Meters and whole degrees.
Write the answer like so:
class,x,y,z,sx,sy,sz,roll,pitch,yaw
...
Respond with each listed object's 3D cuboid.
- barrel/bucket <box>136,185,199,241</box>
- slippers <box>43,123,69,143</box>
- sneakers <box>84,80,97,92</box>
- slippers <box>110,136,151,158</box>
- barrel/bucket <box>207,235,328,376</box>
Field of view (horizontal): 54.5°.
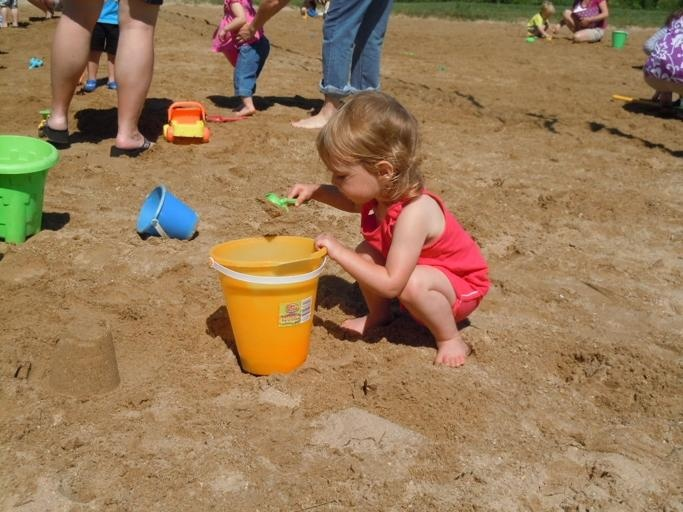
class,x,y,z,sx,sy,sz,roll,pitch,yaw
barrel/bucket,-0.980,-0.265,3.912,0.295,0.365,0.354,19,7,-24
slippers,-2.010,-0.861,4.697,0.239,0.096,0.085,35,45,30
sneakers,-2.319,-1.572,6.115,0.070,0.073,0.180,-3,21,-13
slippers,-1.488,-0.776,4.683,0.321,0.123,0.117,-11,21,-30
barrel/bucket,-0.329,0.231,3.253,0.636,0.620,0.594,2,13,0
